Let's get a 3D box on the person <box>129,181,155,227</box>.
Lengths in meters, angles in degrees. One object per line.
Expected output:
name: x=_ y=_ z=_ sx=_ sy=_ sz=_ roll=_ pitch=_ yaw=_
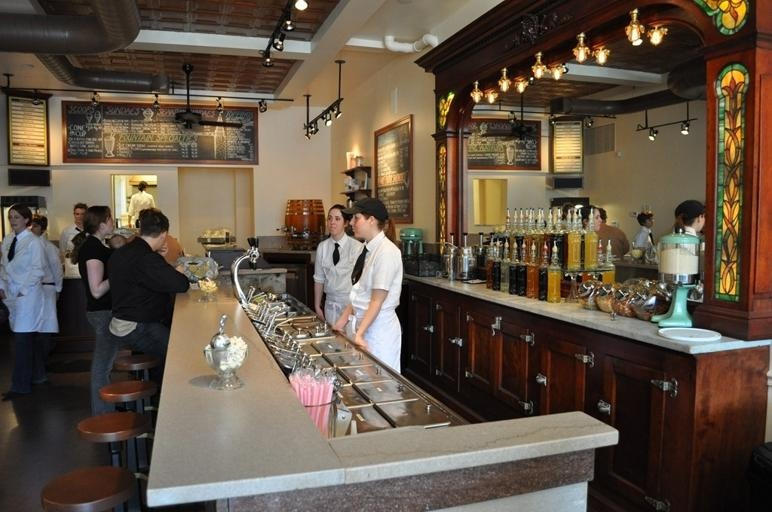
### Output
person: x=-4.179 y=-0.670 z=9.548 sx=0.482 sy=1.102 sz=0.358 roll=0 pitch=5 yaw=-22

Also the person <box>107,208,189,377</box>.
person: x=-1.981 y=0.242 z=4.637 sx=0.621 sy=1.186 sz=0.326 roll=-2 pitch=10 yaw=-18

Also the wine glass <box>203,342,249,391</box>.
wine glass: x=-0.805 y=0.550 z=2.826 sx=0.197 sy=0.202 sz=0.189 roll=-4 pitch=7 yaw=-43

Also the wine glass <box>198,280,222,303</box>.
wine glass: x=-1.612 y=0.304 z=4.997 sx=0.209 sy=0.213 sz=0.209 roll=0 pitch=2 yaw=3

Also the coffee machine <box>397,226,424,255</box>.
coffee machine: x=0.257 y=-0.181 z=6.735 sx=0.353 sy=0.376 sz=0.221 roll=-1 pitch=5 yaw=-4

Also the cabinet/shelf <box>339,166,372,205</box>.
cabinet/shelf: x=-0.488 y=-1.065 z=8.915 sx=0.210 sy=0.629 sz=0.732 roll=-1 pitch=3 yaw=-25

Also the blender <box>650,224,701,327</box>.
blender: x=1.906 y=0.163 z=3.663 sx=0.243 sy=0.600 sz=0.290 roll=6 pitch=11 yaw=25

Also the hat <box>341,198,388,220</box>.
hat: x=-0.142 y=-0.355 z=4.269 sx=0.250 sy=0.127 sz=0.174 roll=7 pitch=0 yaw=1

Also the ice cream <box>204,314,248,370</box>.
ice cream: x=-0.819 y=0.452 z=2.825 sx=0.230 sy=0.269 sz=0.224 roll=1 pitch=4 yaw=-27

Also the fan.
fan: x=-2.703 y=-2.233 z=7.651 sx=0.848 sy=0.804 sz=0.829 roll=-2 pitch=4 yaw=-42

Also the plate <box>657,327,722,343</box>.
plate: x=1.879 y=0.479 z=3.439 sx=0.351 sy=0.037 sz=0.275 roll=5 pitch=11 yaw=20
